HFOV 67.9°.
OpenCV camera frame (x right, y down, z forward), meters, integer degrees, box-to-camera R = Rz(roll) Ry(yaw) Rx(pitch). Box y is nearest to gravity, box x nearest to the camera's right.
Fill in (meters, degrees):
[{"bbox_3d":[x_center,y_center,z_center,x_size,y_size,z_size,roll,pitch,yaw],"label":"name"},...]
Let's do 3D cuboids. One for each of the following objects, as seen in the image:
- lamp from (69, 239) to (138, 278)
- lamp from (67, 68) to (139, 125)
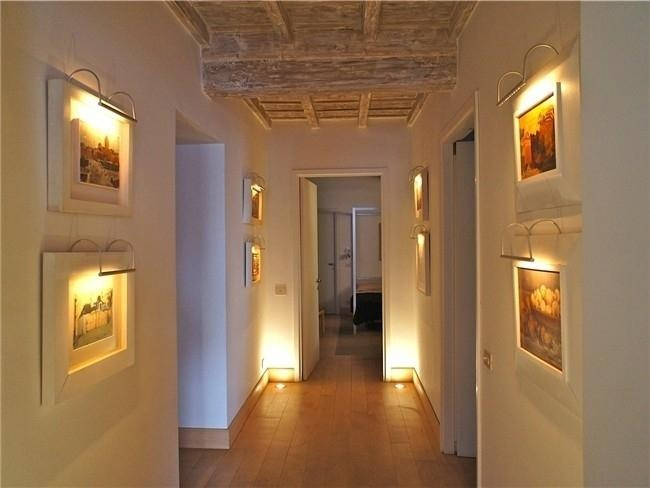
[{"bbox_3d":[-0.901,0.037,2.002,0.128,0.125,0.196,0,1,4],"label":"lamp"},{"bbox_3d":[-0.915,-0.603,2.007,0.108,0.149,0.297,4,1,0],"label":"lamp"}]
